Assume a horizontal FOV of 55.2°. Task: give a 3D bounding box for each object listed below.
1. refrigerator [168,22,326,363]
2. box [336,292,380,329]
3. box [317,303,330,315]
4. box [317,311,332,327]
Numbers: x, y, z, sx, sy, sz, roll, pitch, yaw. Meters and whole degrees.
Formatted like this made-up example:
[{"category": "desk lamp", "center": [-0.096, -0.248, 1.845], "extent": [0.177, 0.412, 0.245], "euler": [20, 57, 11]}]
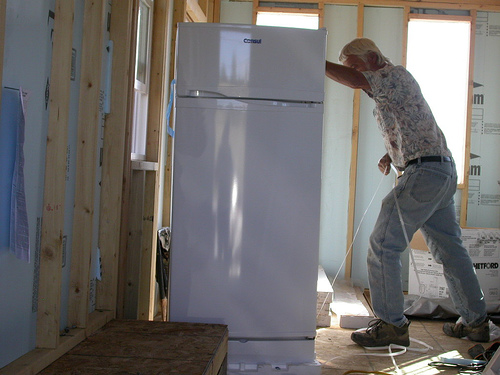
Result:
[{"category": "refrigerator", "center": [0.108, 0.080, 2.847], "extent": [0.999, 1.868, 0.990], "euler": [2, 2, 9]}, {"category": "box", "center": [0.785, 0.919, 3.564], "extent": [0.257, 0.156, 0.600], "euler": [4, 13, 11]}, {"category": "box", "center": [0.514, 0.853, 3.361], "extent": [0.084, 0.091, 0.060], "euler": [4, -11, -25]}, {"category": "box", "center": [0.514, 0.929, 3.314], "extent": [0.073, 0.052, 0.079], "euler": [-3, -7, 24]}]
